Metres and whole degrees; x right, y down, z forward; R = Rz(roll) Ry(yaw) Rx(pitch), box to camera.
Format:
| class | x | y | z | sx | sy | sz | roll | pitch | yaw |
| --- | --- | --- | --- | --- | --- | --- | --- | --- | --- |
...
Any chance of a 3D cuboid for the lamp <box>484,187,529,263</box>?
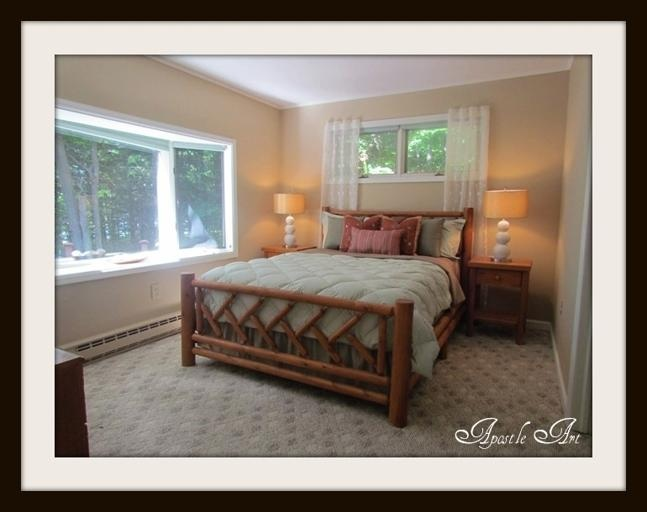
| class | x | y | z | sx | sy | sz | roll | pitch | yaw |
| --- | --- | --- | --- | --- | --- | --- | --- | --- | --- |
| lamp | 1.428 | -0.246 | 3.736 | 0.305 | 0.578 | 0.373 | 5 | 15 | 18 |

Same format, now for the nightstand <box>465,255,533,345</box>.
| class | x | y | z | sx | sy | sz | roll | pitch | yaw |
| --- | --- | --- | --- | --- | --- | --- | --- | --- | --- |
| nightstand | 1.400 | 0.336 | 3.764 | 0.470 | 0.621 | 0.411 | 5 | 9 | 23 |

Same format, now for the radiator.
| class | x | y | z | sx | sy | sz | roll | pitch | yaw |
| --- | --- | --- | --- | --- | --- | --- | --- | --- | --- |
| radiator | -1.383 | 0.571 | 3.357 | 0.141 | 0.225 | 0.976 | 7 | 15 | 24 |

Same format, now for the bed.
| class | x | y | z | sx | sy | sz | roll | pitch | yaw |
| --- | --- | --- | --- | --- | --- | --- | --- | --- | --- |
| bed | 0.251 | 0.157 | 3.501 | 1.660 | 0.879 | 2.195 | 7 | 15 | 26 |
